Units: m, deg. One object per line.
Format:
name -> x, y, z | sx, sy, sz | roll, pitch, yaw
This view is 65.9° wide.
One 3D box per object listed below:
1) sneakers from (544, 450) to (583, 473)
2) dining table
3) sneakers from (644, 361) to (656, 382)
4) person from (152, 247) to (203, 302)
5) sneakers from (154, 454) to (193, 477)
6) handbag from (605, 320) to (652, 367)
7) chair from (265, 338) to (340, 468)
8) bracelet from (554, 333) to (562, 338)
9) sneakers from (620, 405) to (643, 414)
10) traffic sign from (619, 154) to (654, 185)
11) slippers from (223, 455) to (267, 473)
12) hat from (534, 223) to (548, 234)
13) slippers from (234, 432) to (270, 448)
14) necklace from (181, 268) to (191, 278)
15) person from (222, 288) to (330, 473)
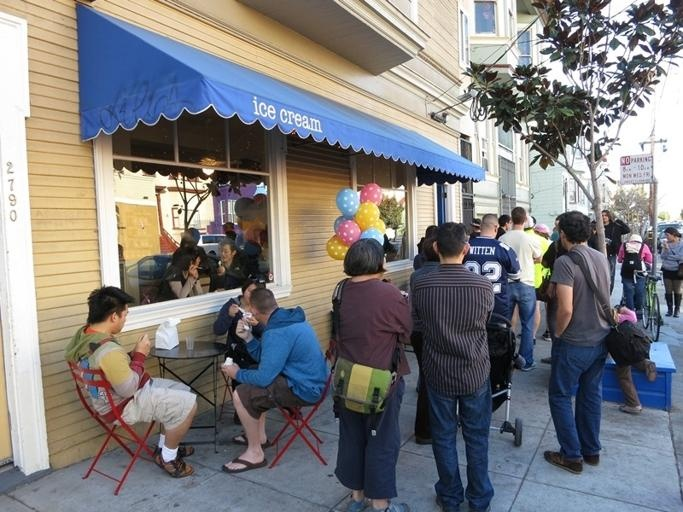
sneakers -> 2.044, 1.913, 4.880 | 0.118, 0.130, 0.308 | 3, 6, -34
dining table -> -1.659, 1.632, 5.753 | 0.860, 1.073, 0.882 | -4, -6, -12
sneakers -> 3.405, 1.248, 5.825 | 0.080, 0.258, 0.105 | -3, 12, 19
person -> -1.847, 0.163, 6.168 | 0.447, 0.864, 0.564 | 7, 1, -5
sneakers -> -1.579, 1.935, 4.931 | 0.344, 0.162, 0.163 | 9, 8, 9
handbag -> 2.580, 0.789, 4.766 | 0.407, 0.410, 0.341 | -7, -1, 7
chair -> -0.449, 1.507, 5.292 | 0.643, 1.005, 0.646 | -1, 2, 5
bracelet -> 1.998, 0.734, 4.881 | 0.064, 0.051, 0.065 | 1, -4, -27
sneakers -> 3.214, 1.693, 5.841 | 0.194, 0.090, 0.099 | 2, -1, 23
traffic sign -> 5.226, -1.574, 9.429 | 0.314, 0.538, 0.717 | -3, 9, -16
slippers -> -0.921, 1.950, 4.976 | 0.279, 0.081, 0.151 | 5, -9, -19
hat -> 3.221, -0.478, 8.518 | 0.131, 0.144, 0.180 | -13, 44, -34
slippers -> -0.921, 1.903, 5.412 | 0.366, 0.112, 0.153 | 6, 0, 16
necklace -> -1.819, 0.184, 6.093 | 0.028, 0.107, 0.106 | 7, 5, 33
person -> -0.637, 1.141, 4.981 | 0.987, 1.702, 0.700 | 2, 9, 20
